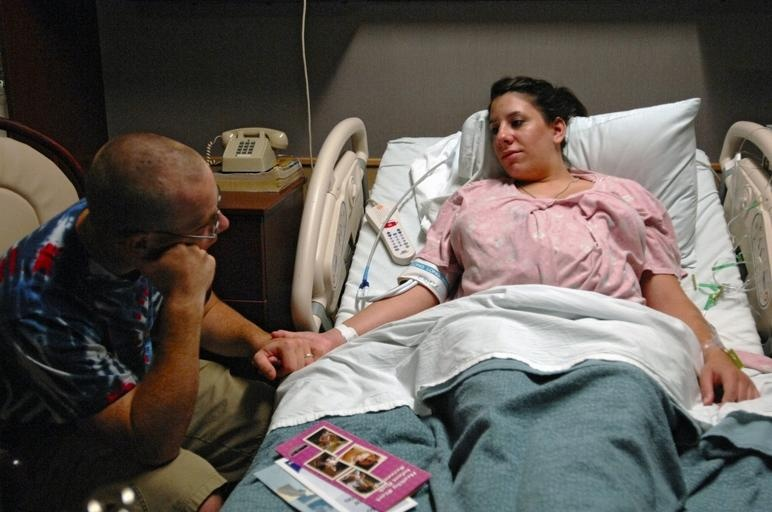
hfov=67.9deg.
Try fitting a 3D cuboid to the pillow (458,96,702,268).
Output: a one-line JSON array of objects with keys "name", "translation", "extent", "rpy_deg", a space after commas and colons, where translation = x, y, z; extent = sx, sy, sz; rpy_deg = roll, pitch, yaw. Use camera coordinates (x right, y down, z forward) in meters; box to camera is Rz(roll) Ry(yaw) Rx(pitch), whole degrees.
[{"name": "pillow", "translation": [1.028, -0.418, 2.596], "extent": [0.765, 0.518, 0.770], "rpy_deg": [-2, 31, 13]}]

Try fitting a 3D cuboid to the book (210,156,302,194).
[{"name": "book", "translation": [-0.497, -0.309, 2.155], "extent": [0.213, 0.055, 0.209], "rpy_deg": [0, 20, 9]}]

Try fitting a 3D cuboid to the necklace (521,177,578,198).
[{"name": "necklace", "translation": [0.647, -0.269, 2.186], "extent": [0.149, 0.026, 0.120], "rpy_deg": [-11, 36, -5]}]

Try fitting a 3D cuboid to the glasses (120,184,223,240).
[{"name": "glasses", "translation": [-0.521, -0.094, 1.417], "extent": [0.159, 0.046, 0.151], "rpy_deg": [-5, 39, -1]}]

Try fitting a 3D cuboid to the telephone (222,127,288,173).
[{"name": "telephone", "translation": [-0.545, -0.427, 2.251], "extent": [0.269, 0.136, 0.238], "rpy_deg": [3, 26, 13]}]
